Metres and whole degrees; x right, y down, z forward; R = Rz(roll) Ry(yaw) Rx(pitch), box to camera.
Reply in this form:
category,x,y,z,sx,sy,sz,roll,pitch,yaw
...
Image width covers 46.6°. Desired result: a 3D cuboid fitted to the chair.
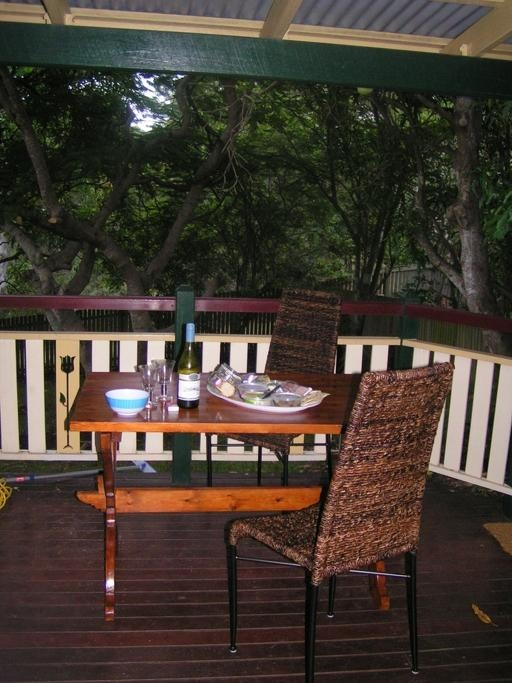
category,x,y,z,sx,sy,sz,roll,pitch,yaw
chair,0.251,0.497,1.706,0.486,0.952,0.483,-4,11,-38

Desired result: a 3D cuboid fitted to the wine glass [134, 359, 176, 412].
category,x,y,z,sx,sy,sz,roll,pitch,yaw
wine glass,-0.291,0.136,1.967,0.101,0.180,0.189,1,1,15

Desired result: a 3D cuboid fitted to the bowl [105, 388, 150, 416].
category,x,y,z,sx,sy,sz,roll,pitch,yaw
bowl,-0.390,0.182,1.782,0.123,0.058,0.160,1,8,-14

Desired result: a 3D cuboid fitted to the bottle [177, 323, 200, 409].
category,x,y,z,sx,sy,sz,roll,pitch,yaw
bottle,-0.213,0.069,1.889,0.071,0.266,0.178,3,9,-6
